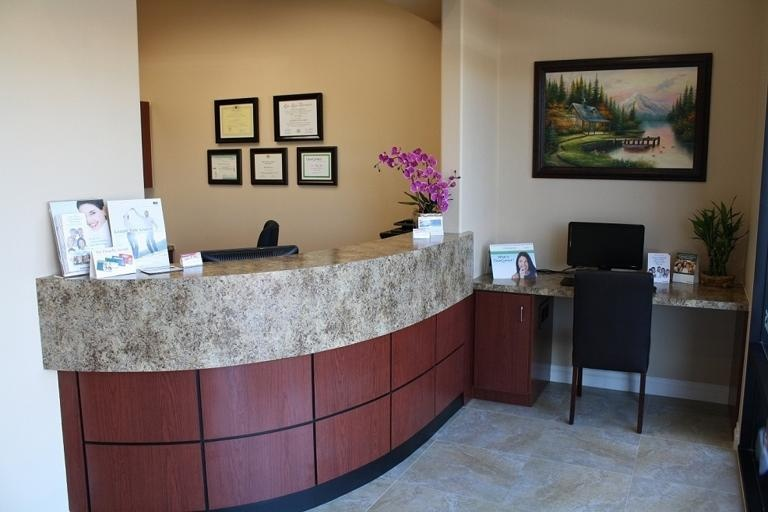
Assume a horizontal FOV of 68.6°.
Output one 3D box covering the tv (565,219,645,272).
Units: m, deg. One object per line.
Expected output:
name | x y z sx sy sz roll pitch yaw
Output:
tv | 1.775 -0.078 4.469 0.406 0.291 0.119 2 7 15

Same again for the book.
book | -1.625 -0.083 2.974 0.371 0.492 0.048 -8 4 -43

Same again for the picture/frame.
picture/frame | 1.952 -1.123 4.473 1.072 0.806 0.047 2 4 20

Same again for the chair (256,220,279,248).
chair | -1.019 -0.190 4.878 0.162 0.203 0.289 -3 9 1

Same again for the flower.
flower | 0.292 -0.513 4.316 0.566 0.582 0.463 8 30 23

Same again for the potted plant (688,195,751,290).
potted plant | 2.533 -0.107 4.281 0.380 0.641 0.265 2 10 32
